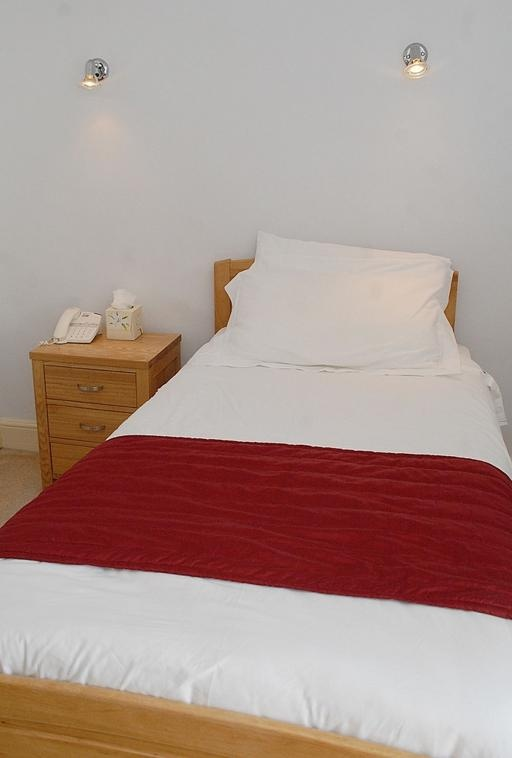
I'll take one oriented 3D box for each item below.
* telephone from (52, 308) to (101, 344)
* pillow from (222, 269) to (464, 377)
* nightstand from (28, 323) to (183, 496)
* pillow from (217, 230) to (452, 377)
[{"bbox_3d":[-0.743,-0.222,2.696,0.154,0.070,0.178,6,35,11],"label":"telephone"},{"bbox_3d":[0.316,-0.198,2.254,0.678,0.413,0.170,0,-19,5],"label":"pillow"},{"bbox_3d":[-0.573,0.103,2.758,0.535,0.566,0.513,4,17,10],"label":"nightstand"},{"bbox_3d":[0.306,-0.267,2.292,0.803,0.468,0.511,3,19,2],"label":"pillow"}]
